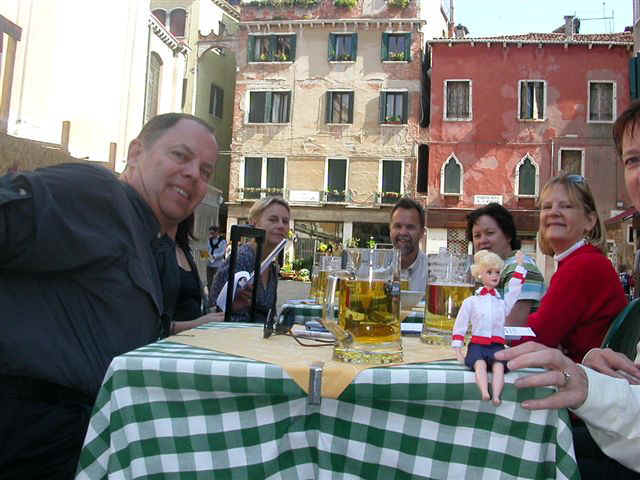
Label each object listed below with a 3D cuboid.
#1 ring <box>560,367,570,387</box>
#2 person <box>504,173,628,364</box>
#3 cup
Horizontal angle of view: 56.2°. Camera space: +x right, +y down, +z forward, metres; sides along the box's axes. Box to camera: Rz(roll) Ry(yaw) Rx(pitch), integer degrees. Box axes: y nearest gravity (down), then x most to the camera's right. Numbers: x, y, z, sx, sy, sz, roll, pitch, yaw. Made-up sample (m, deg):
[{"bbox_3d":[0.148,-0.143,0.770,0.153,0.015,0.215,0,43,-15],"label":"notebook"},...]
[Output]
[{"bbox_3d":[0.757,0.427,1.860,0.030,0.045,0.016,8,-8,-35],"label":"ring"},{"bbox_3d":[1.091,0.155,2.826,0.547,0.885,0.505,-3,5,-12],"label":"person"},{"bbox_3d":[0.239,0.226,1.913,0.357,0.407,0.225,-1,1,-19],"label":"cup"}]
